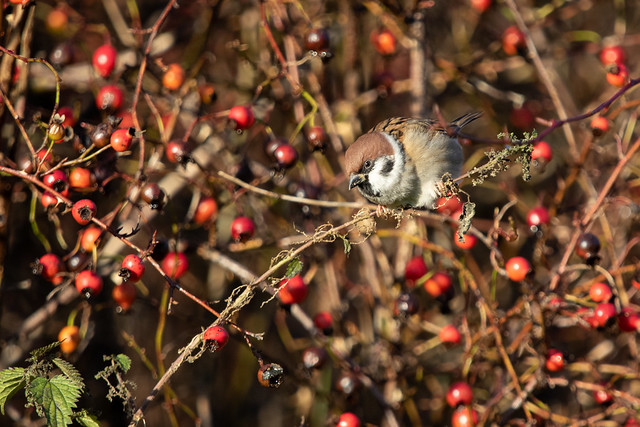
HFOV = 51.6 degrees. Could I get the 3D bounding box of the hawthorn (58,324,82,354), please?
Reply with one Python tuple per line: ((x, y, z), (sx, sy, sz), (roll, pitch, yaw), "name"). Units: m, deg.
((-1.881, 0.952, 4.973), (0.167, 0.217, 0.177), (5, -26, -9), "hawthorn")
